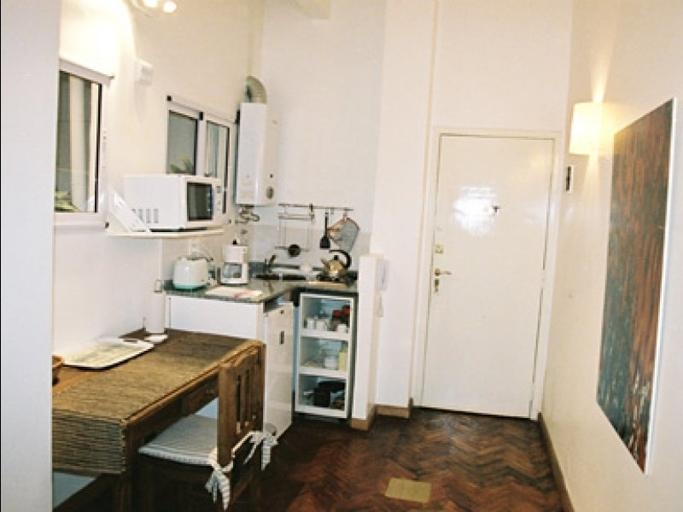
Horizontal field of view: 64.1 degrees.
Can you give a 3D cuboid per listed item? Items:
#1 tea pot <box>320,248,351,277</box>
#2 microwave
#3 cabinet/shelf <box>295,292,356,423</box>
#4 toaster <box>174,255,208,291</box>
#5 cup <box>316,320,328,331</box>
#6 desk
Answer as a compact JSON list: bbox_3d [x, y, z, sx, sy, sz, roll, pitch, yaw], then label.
[{"bbox_3d":[-0.050,0.072,4.781,0.259,0.241,0.198,2,3,-1],"label":"tea pot"},{"bbox_3d":[-1.110,-0.349,3.499,0.360,0.278,0.522,2,5,9],"label":"microwave"},{"bbox_3d":[-0.117,0.767,4.546,0.485,1.029,0.636,3,9,5],"label":"cabinet/shelf"},{"bbox_3d":[-1.070,0.112,3.891,0.200,0.223,0.275,7,11,8],"label":"toaster"},{"bbox_3d":[-0.155,0.554,4.402,0.093,0.076,0.086,3,9,0],"label":"cup"},{"bbox_3d":[-0.928,0.697,2.556,0.776,0.574,1.146,3,7,12],"label":"desk"}]
